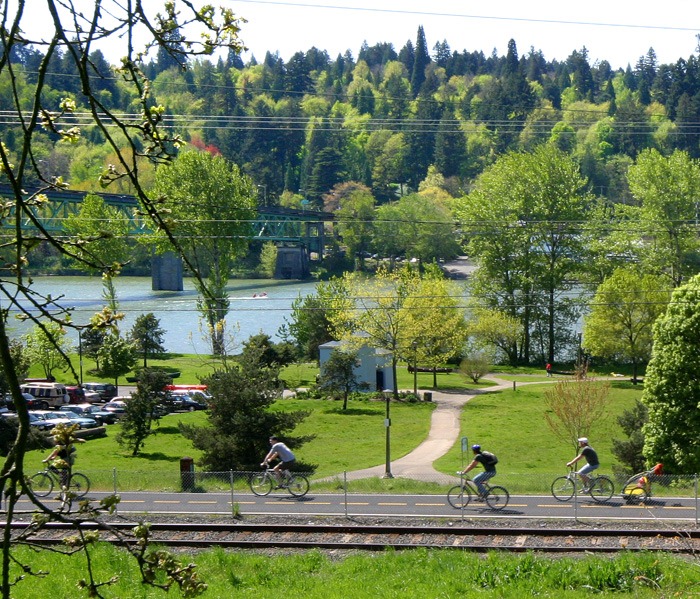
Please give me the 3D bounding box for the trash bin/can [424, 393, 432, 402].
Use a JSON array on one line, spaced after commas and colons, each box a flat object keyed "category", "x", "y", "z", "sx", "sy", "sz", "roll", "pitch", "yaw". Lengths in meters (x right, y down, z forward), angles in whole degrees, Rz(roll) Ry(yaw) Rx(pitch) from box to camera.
[{"category": "trash bin/can", "x": 6.876, "y": 8.585, "z": 159.815, "sx": 0.796, "sy": 0.716, "sz": 1.304, "roll": 0, "pitch": 3, "yaw": 0}]
